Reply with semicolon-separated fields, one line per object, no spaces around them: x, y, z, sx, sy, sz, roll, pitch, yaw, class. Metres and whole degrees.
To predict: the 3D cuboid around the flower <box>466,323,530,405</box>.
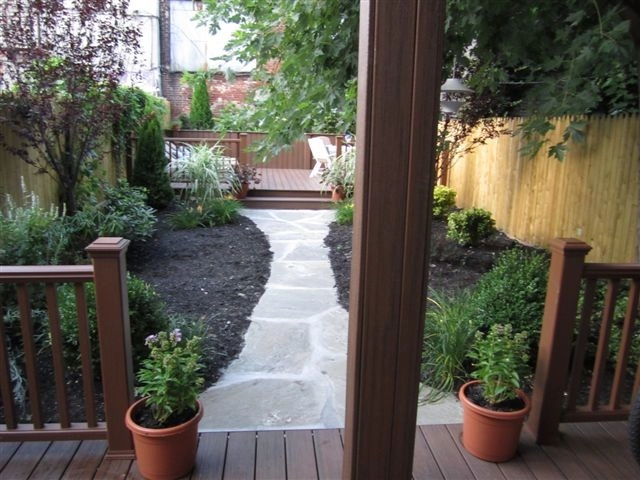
1.143;0.849;3.114;0.409;0.396;0.356;0;-1;3;flower

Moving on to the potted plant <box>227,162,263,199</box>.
-1.603;-1.271;10.296;0.932;0.752;0.825;3;17;1;potted plant

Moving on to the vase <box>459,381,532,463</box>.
1.069;1.165;3.169;0.458;0.302;0.461;12;13;38;vase

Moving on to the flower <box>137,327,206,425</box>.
-0.826;0.835;2.930;0.501;0.541;0.487;-5;-11;-13;flower
